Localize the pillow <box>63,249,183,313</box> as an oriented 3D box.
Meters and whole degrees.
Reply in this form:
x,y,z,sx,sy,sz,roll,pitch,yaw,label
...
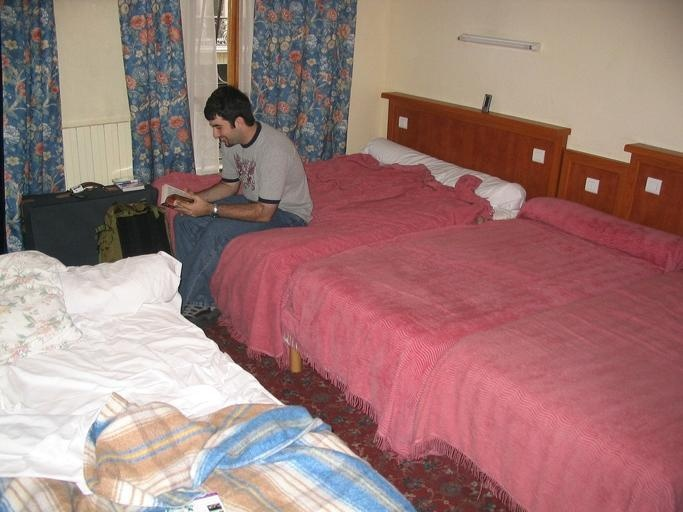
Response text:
x,y,z,sx,sy,sz,roll,pitch,yaw,label
-1.045,0.126,2.393,0.403,0.129,0.294,-15,38,-27,pillow

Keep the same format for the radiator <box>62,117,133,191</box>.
x,y,z,sx,sy,sz,roll,pitch,yaw,label
-1.901,-0.806,3.856,0.543,0.588,0.041,-16,32,-31,radiator

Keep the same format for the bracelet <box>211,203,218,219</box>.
x,y,z,sx,sy,sz,roll,pitch,yaw,label
-0.799,-0.292,3.144,0.043,0.074,0.065,-2,12,-10,bracelet

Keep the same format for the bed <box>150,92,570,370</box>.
x,y,z,sx,sy,sz,roll,pitch,yaw,label
0.166,-0.453,3.621,2.100,1.254,2.149,-20,35,-31,bed

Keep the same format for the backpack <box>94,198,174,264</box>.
x,y,z,sx,sy,sz,roll,pitch,yaw,label
-1.325,-0.166,3.375,0.517,0.612,0.334,-5,-1,-32,backpack

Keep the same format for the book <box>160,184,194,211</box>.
x,y,z,sx,sy,sz,roll,pitch,yaw,label
-1.056,-0.383,3.176,0.160,0.053,0.168,1,30,-41,book

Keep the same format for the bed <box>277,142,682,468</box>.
x,y,z,sx,sy,sz,roll,pitch,yaw,label
0.713,0.087,2.736,1.581,0.654,1.703,-22,39,-31,bed
